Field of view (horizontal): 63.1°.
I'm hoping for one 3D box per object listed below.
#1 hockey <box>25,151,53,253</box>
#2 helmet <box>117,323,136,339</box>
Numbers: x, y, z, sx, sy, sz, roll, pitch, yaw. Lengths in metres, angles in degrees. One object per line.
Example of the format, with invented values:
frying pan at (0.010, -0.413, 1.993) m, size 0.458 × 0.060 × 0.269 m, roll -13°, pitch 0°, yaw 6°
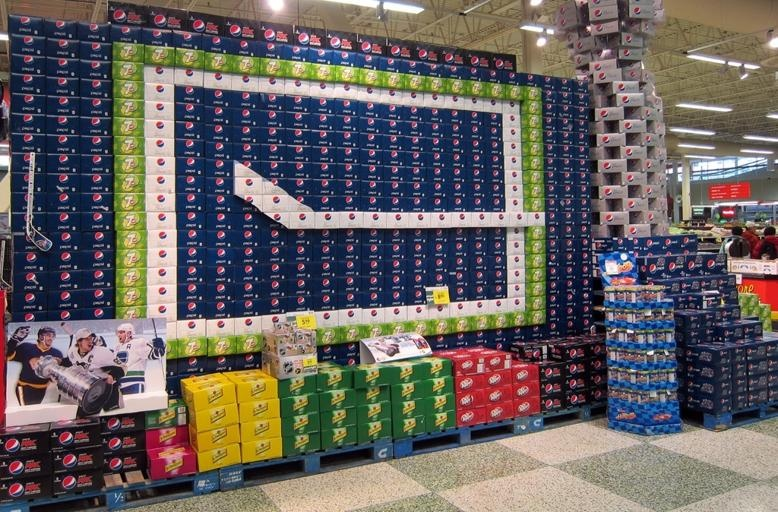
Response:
hockey at (-3.368, -0.516, 6.022) m, size 0.214 × 0.943 × 0.201 m, roll -8°, pitch 14°, yaw -32°
helmet at (-2.531, 0.725, 6.100) m, size 0.177 × 0.158 × 0.128 m, roll 9°, pitch -15°, yaw -28°
